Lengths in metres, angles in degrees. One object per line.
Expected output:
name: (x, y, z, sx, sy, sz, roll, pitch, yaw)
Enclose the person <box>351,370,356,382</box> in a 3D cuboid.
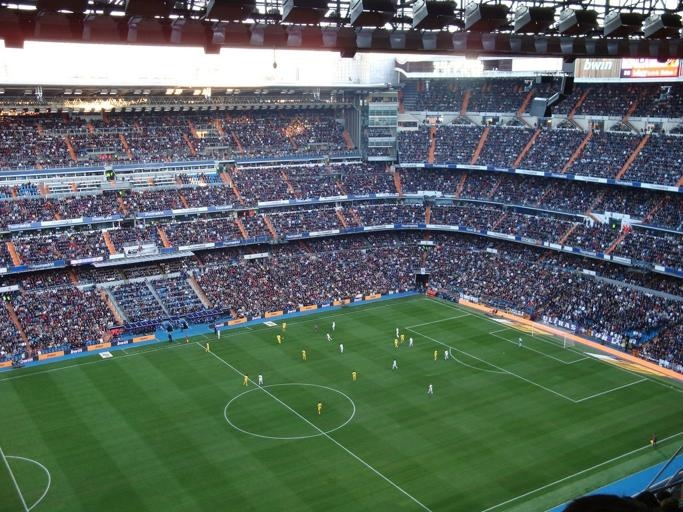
person: (1.153, 10.624, 54.528, 0.482, 1.173, 0.463, 1, 15, 6)
